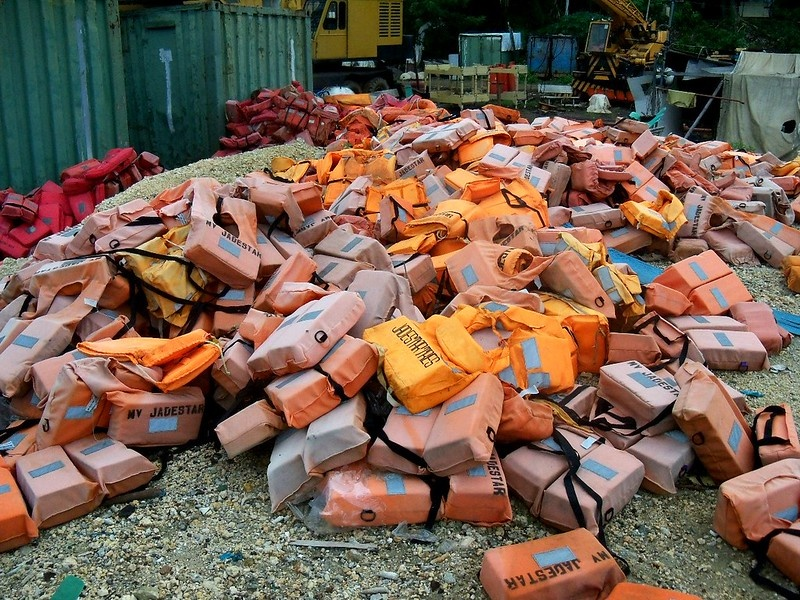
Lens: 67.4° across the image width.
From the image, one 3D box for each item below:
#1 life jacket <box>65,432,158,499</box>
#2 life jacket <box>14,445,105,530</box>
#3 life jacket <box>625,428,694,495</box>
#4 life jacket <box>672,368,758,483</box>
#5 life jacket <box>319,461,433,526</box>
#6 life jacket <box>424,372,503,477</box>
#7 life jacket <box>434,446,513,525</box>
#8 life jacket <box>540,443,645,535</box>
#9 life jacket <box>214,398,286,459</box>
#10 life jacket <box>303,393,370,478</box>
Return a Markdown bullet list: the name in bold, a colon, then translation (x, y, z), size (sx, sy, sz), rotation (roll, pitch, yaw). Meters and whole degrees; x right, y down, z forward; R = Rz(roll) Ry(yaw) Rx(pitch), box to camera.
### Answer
- **life jacket**: translation (-1.699, 1.017, 3.593), size (0.325, 0.180, 0.493), rotation (-15, 10, -37)
- **life jacket**: translation (-1.986, 1.035, 3.402), size (0.542, 0.201, 0.388), rotation (22, 29, 33)
- **life jacket**: translation (1.547, 0.951, 3.713), size (0.311, 0.193, 0.501), rotation (-21, 18, -28)
- **life jacket**: translation (1.927, 0.781, 3.653), size (0.514, 0.544, 0.437), rotation (13, 24, 23)
- **life jacket**: translation (-0.120, 1.073, 3.288), size (0.398, 0.152, 0.355), rotation (-1, 26, 3)
- **life jacket**: translation (0.387, 0.710, 3.474), size (0.428, 0.233, 0.657), rotation (-24, 22, 31)
- **life jacket**: translation (0.427, 1.045, 3.298), size (0.324, 0.166, 0.334), rotation (-1, 40, 3)
- **life jacket**: translation (1.118, 1.082, 3.472), size (0.381, 0.251, 0.723), rotation (12, 21, 42)
- **life jacket**: translation (-0.899, 0.775, 3.706), size (0.413, 0.269, 0.463), rotation (-7, -6, 20)
- **life jacket**: translation (-0.357, 0.755, 3.342), size (0.374, 0.139, 0.333), rotation (-35, 29, 11)
